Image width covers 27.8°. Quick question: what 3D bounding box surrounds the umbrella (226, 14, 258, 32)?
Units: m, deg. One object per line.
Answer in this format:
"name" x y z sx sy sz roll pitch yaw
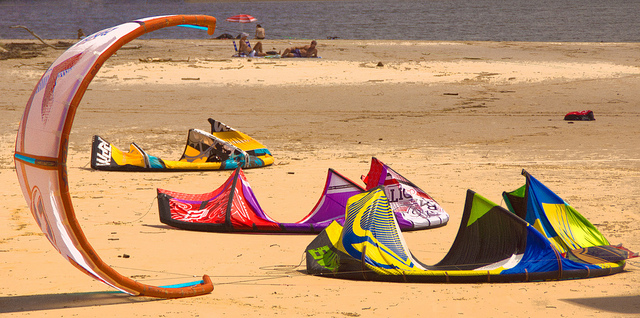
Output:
"umbrella" -7.170 -12.899 118.635 2.317 1.087 2.188 12 15 30
